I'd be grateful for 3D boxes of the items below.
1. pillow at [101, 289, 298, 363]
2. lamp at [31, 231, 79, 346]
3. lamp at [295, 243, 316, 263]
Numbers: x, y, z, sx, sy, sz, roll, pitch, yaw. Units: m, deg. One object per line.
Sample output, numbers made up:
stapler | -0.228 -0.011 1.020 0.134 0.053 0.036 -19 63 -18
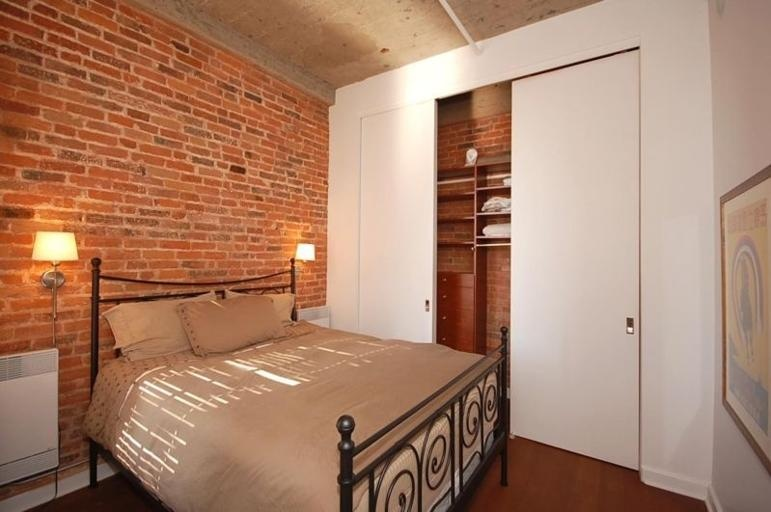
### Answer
pillow | -1.758 0.599 4.354 0.999 0.572 0.286 -3 -31 -40
lamp | -2.567 0.260 3.923 0.302 0.930 0.219 -4 2 -34
lamp | -0.891 -0.024 5.444 0.202 0.201 0.204 -3 -4 37
